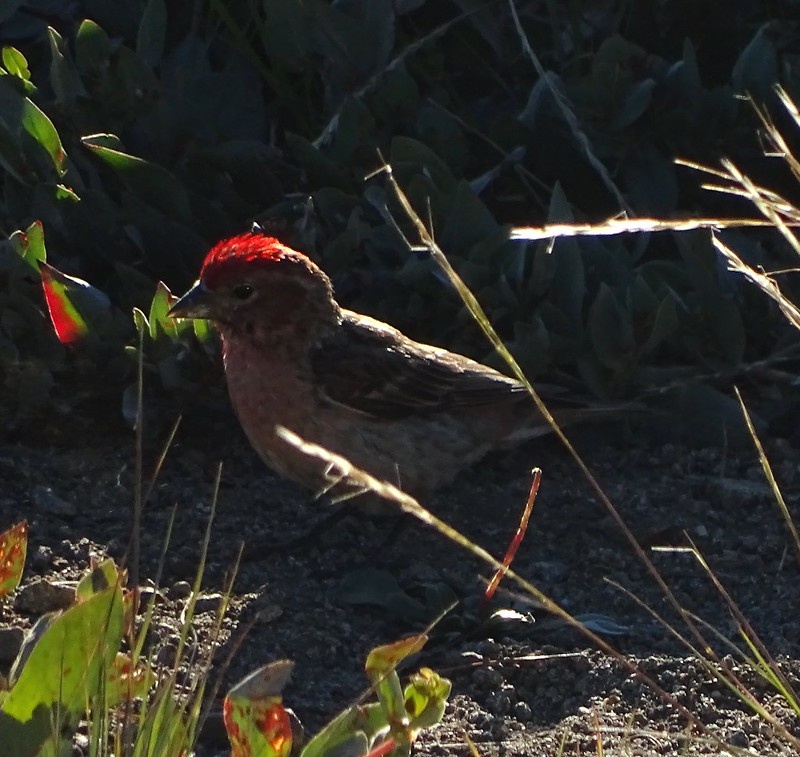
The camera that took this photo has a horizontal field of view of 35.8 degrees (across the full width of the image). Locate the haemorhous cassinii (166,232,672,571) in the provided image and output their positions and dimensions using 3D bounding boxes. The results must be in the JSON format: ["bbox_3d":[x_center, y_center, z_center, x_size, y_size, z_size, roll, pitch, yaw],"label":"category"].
[{"bbox_3d":[0.012,0.029,3.841,1.527,0.850,0.510,-3,7,-35],"label":"haemorhous cassinii"}]
